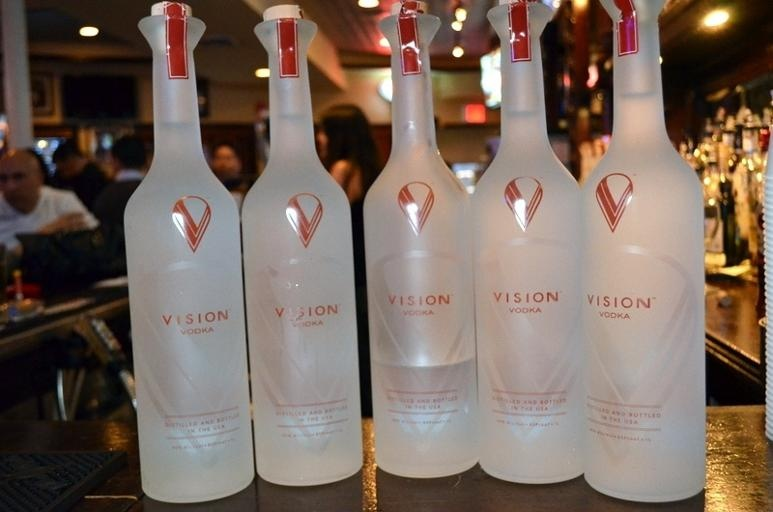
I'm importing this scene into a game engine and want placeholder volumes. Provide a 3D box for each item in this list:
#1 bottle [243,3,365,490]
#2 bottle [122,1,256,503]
[{"bbox_3d":[-0.124,-0.010,1.043,0.149,0.667,0.080,-4,7,-11],"label":"bottle"},{"bbox_3d":[-0.280,-0.002,1.027,0.154,0.684,0.089,-5,7,-19],"label":"bottle"}]
